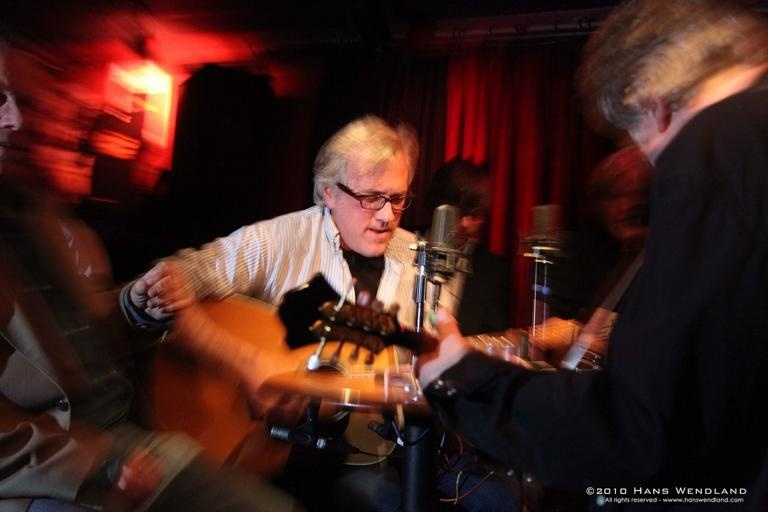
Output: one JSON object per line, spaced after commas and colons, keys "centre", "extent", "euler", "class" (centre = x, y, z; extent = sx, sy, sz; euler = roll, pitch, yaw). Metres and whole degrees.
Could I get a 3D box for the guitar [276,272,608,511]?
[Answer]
{"centre": [0.367, 0.393, 2.263], "extent": [1.688, 0.687, 0.251], "euler": [6, 1, -13], "class": "guitar"}
